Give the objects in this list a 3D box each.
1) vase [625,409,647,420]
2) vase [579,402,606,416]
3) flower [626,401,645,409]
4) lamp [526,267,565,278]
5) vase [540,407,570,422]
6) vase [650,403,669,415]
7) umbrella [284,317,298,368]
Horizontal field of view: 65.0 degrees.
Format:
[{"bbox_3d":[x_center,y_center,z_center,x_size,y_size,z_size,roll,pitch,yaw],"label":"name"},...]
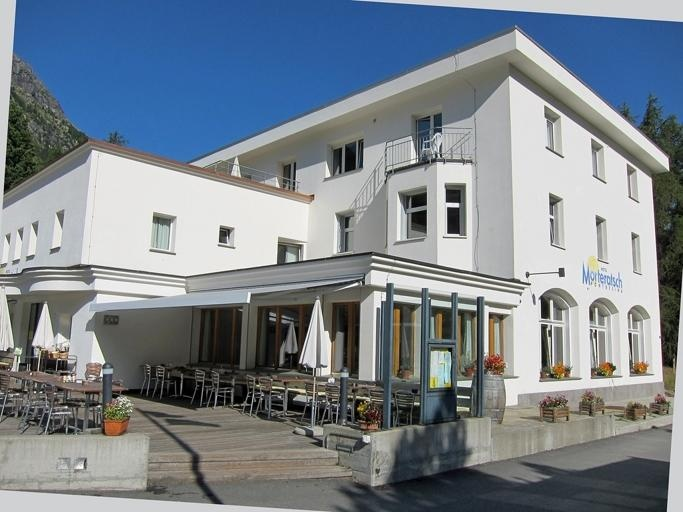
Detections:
[{"bbox_3d":[10.629,5.630,19.368,0.549,0.386,0.410,2,-4,-32],"label":"vase"},{"bbox_3d":[8.203,4.989,17.564,0.571,0.389,0.435,3,-4,-41],"label":"vase"},{"bbox_3d":[10.691,5.465,19.473,0.491,0.268,0.685,5,1,30],"label":"flower"},{"bbox_3d":[7.717,0.656,20.374,1.336,0.465,1.534,5,1,20],"label":"lamp"},{"bbox_3d":[6.308,4.623,15.866,0.450,0.422,0.625,7,-10,-28],"label":"vase"},{"bbox_3d":[12.383,5.939,20.819,0.447,0.377,0.650,0,-3,-26],"label":"vase"},{"bbox_3d":[-1.697,3.197,18.184,0.622,1.950,0.638,-1,-28,1],"label":"umbrella"}]
